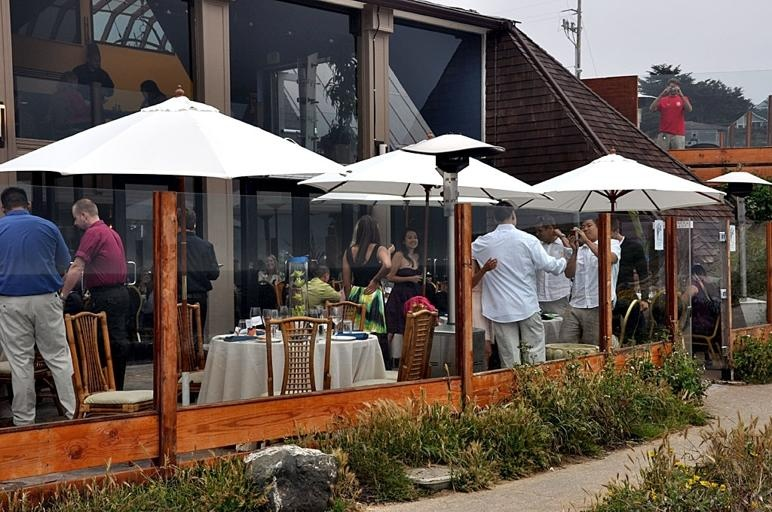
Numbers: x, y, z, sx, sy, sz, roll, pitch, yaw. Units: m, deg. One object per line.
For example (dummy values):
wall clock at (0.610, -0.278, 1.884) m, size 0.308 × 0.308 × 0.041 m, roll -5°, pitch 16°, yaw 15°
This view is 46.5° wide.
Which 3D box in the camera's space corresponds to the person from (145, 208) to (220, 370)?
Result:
person at (-2.048, 0.162, 9.579) m, size 0.322 × 1.325 × 0.483 m, roll -5°, pitch -3°, yaw 34°

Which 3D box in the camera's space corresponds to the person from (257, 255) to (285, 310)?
person at (-1.297, 0.334, 10.141) m, size 0.323 × 0.248 × 1.002 m, roll 7°, pitch -40°, yaw -3°

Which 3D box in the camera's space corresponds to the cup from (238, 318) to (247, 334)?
cup at (-1.605, 0.784, 10.009) m, size 0.113 × 0.202 × 0.126 m, roll 0°, pitch 1°, yaw 18°

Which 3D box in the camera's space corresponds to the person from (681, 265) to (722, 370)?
person at (5.174, 0.964, 14.327) m, size 0.475 × 1.211 × 0.572 m, roll -4°, pitch -3°, yaw 22°

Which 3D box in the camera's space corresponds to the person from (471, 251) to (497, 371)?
person at (1.266, 0.660, 11.821) m, size 0.391 × 1.781 × 0.611 m, roll -2°, pitch 12°, yaw 3°

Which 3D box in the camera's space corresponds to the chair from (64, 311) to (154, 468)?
chair at (-2.993, 1.360, 9.840) m, size 0.860 × 1.429 × 0.891 m, roll -1°, pitch 1°, yaw 9°

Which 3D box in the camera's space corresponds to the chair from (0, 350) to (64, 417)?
chair at (-3.968, 1.422, 10.084) m, size 0.663 × 1.078 × 0.642 m, roll 0°, pitch -7°, yaw -6°

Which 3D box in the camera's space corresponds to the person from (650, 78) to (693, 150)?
person at (7.522, -3.681, 23.358) m, size 0.884 × 1.360 × 1.154 m, roll -4°, pitch -3°, yaw 17°

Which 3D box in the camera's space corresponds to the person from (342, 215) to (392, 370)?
person at (-0.207, 0.446, 10.856) m, size 0.578 × 2.022 × 0.623 m, roll 0°, pitch 22°, yaw 5°

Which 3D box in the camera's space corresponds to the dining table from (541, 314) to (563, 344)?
dining table at (2.328, 0.978, 12.369) m, size 0.330 × 0.371 × 0.378 m, roll 0°, pitch 1°, yaw -6°

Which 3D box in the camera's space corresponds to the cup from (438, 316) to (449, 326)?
cup at (0.733, 0.807, 11.217) m, size 0.134 × 0.114 × 0.350 m, roll -4°, pitch -3°, yaw 4°

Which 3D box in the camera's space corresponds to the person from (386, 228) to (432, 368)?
person at (0.298, 0.509, 10.962) m, size 0.510 × 1.642 × 0.500 m, roll -14°, pitch 22°, yaw -42°

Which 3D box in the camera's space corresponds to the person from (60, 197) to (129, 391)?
person at (-3.022, 0.312, 9.354) m, size 0.625 × 1.802 × 0.472 m, roll -2°, pitch -3°, yaw -22°

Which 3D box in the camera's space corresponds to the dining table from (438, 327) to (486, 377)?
dining table at (0.963, 1.226, 11.377) m, size 0.543 × 1.102 × 0.565 m, roll -2°, pitch -1°, yaw 8°
